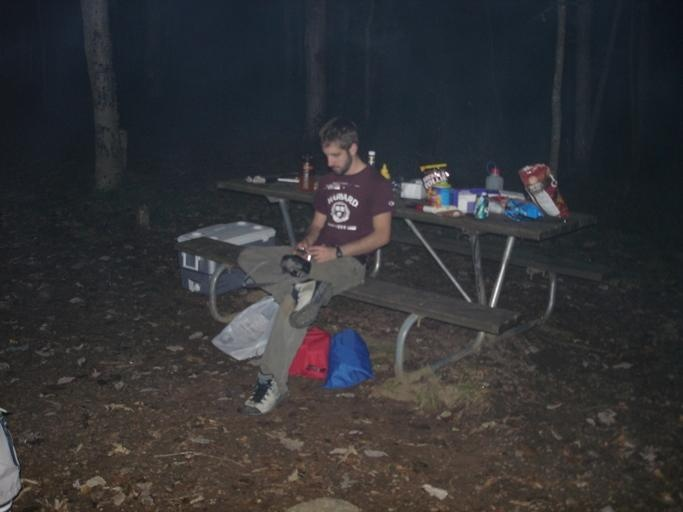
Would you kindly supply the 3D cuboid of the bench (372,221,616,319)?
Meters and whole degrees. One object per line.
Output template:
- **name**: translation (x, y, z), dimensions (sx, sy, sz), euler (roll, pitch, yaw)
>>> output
- **bench**: translation (1.591, -0.060, 5.674), dimensions (1.511, 0.817, 1.659), euler (-15, 23, -40)

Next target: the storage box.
- **storage box**: translation (-1.403, 0.028, 6.651), dimensions (0.699, 0.660, 1.033), euler (16, 26, 29)

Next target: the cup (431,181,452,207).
- **cup**: translation (0.939, -0.611, 5.428), dimensions (0.231, 0.252, 0.229), euler (0, 7, 0)

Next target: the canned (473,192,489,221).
- **canned**: translation (1.309, -0.459, 5.160), dimensions (0.071, 0.231, 0.142), euler (12, -2, -16)

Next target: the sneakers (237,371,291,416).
- **sneakers**: translation (-0.622, 1.114, 4.572), dimensions (0.394, 0.282, 0.255), euler (-1, 16, -12)
